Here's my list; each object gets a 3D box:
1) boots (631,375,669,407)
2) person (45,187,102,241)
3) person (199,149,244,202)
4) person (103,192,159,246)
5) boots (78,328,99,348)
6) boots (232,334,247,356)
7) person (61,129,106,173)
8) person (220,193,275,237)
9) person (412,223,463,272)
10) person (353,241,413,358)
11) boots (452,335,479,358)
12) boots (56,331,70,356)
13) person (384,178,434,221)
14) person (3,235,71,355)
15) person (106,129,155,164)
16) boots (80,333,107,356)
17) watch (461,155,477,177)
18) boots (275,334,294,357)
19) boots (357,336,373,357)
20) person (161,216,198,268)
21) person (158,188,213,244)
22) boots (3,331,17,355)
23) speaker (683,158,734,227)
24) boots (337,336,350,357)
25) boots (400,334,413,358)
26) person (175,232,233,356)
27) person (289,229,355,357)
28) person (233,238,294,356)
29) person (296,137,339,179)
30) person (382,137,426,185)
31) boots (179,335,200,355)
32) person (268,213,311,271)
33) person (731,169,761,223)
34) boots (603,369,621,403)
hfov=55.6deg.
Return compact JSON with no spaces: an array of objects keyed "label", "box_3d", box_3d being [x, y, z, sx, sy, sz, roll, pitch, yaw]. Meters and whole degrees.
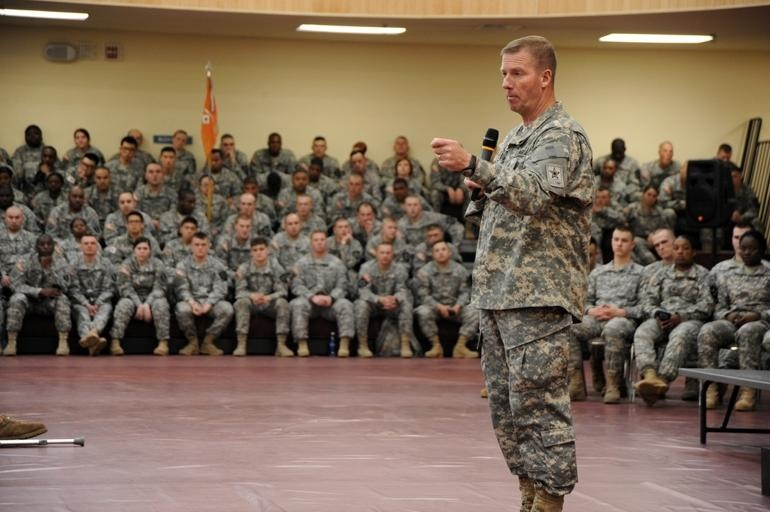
[{"label":"boots","box_3d":[2.152,1.107,5.903,0.205,0.242,0.289,1,1,37]},{"label":"person","box_3d":[-4.031,-0.536,9.539,0.791,0.753,0.450,1,-4,-11]},{"label":"person","box_3d":[-2.472,-1.193,11.066,0.904,0.818,0.444,1,15,27]},{"label":"person","box_3d":[-3.359,-0.483,9.557,0.682,0.684,0.874,-7,14,-22]},{"label":"boots","box_3d":[-3.349,0.925,8.330,0.190,0.231,0.329,1,1,-22]},{"label":"boots","box_3d":[-1.732,1.064,8.818,0.163,0.190,0.319,1,1,-9]},{"label":"person","box_3d":[-4.540,-1.607,11.154,0.747,0.621,0.382,-3,8,-7]},{"label":"person","box_3d":[-1.843,-0.497,10.042,0.761,0.695,0.406,-1,11,-4]},{"label":"person","box_3d":[0.609,-0.247,9.635,0.550,0.222,0.717,-5,36,15]},{"label":"person","box_3d":[0.000,0.532,9.064,0.736,1.138,0.573,1,0,-1]},{"label":"boots","box_3d":[0.954,1.124,8.853,0.397,0.351,0.175,0,-1,-6]},{"label":"boots","box_3d":[-3.738,1.010,8.539,0.145,0.268,0.234,1,0,-23]},{"label":"person","box_3d":[0.326,-0.804,10.460,0.621,0.730,0.408,-6,16,8]},{"label":"person","box_3d":[-4.032,0.441,8.557,0.714,1.389,0.479,1,0,-20]},{"label":"person","box_3d":[-3.868,-1.660,11.171,0.348,0.536,0.804,10,10,41]},{"label":"boots","box_3d":[-3.284,1.022,8.264,0.203,0.148,0.328,13,-49,-30]},{"label":"watch","box_3d":[0.328,-0.344,2.777,0.063,0.076,0.047,2,-4,-35]},{"label":"boots","box_3d":[-1.213,1.075,8.898,0.212,0.196,0.328,1,1,-10]},{"label":"boots","box_3d":[-0.232,1.097,8.941,0.191,0.199,0.306,1,1,-3]},{"label":"person","box_3d":[-2.518,-0.120,9.367,0.565,0.775,0.499,5,-3,-14]},{"label":"person","box_3d":[-2.714,-0.534,9.904,0.807,0.637,0.435,-2,7,-34]},{"label":"boots","box_3d":[-4.287,0.996,8.391,0.134,0.262,0.143,1,0,-22]},{"label":"speaker","box_3d":[3.079,-0.595,6.910,0.533,0.777,0.633,-2,-5,28]},{"label":"boots","box_3d":[-0.486,1.092,8.874,0.136,0.188,0.243,1,1,-4]},{"label":"boots","box_3d":[0.271,1.081,8.873,0.159,0.229,0.171,1,0,0]},{"label":"person","box_3d":[-2.195,0.444,8.945,0.682,1.034,0.542,1,0,-17]},{"label":"person","box_3d":[-0.763,0.442,9.084,0.790,1.194,0.735,1,0,-7]},{"label":"person","box_3d":[-1.479,0.479,8.991,0.694,1.069,0.625,1,0,-11]},{"label":"person","box_3d":[-1.035,-1.444,11.537,0.731,0.909,0.554,1,7,-8]},{"label":"person","box_3d":[0.261,-1.505,11.667,1.051,0.939,0.704,0,4,-3]},{"label":"boots","box_3d":[-2.328,1.062,8.752,0.217,0.151,0.239,1,1,-15]},{"label":"person","box_3d":[-1.222,-0.172,9.682,0.564,0.776,0.468,0,0,-23]},{"label":"person","box_3d":[4.931,-0.854,10.001,0.337,0.836,1.238,1,1,26]},{"label":"boots","box_3d":[1.922,1.096,6.176,0.121,0.264,0.206,1,0,16]}]
